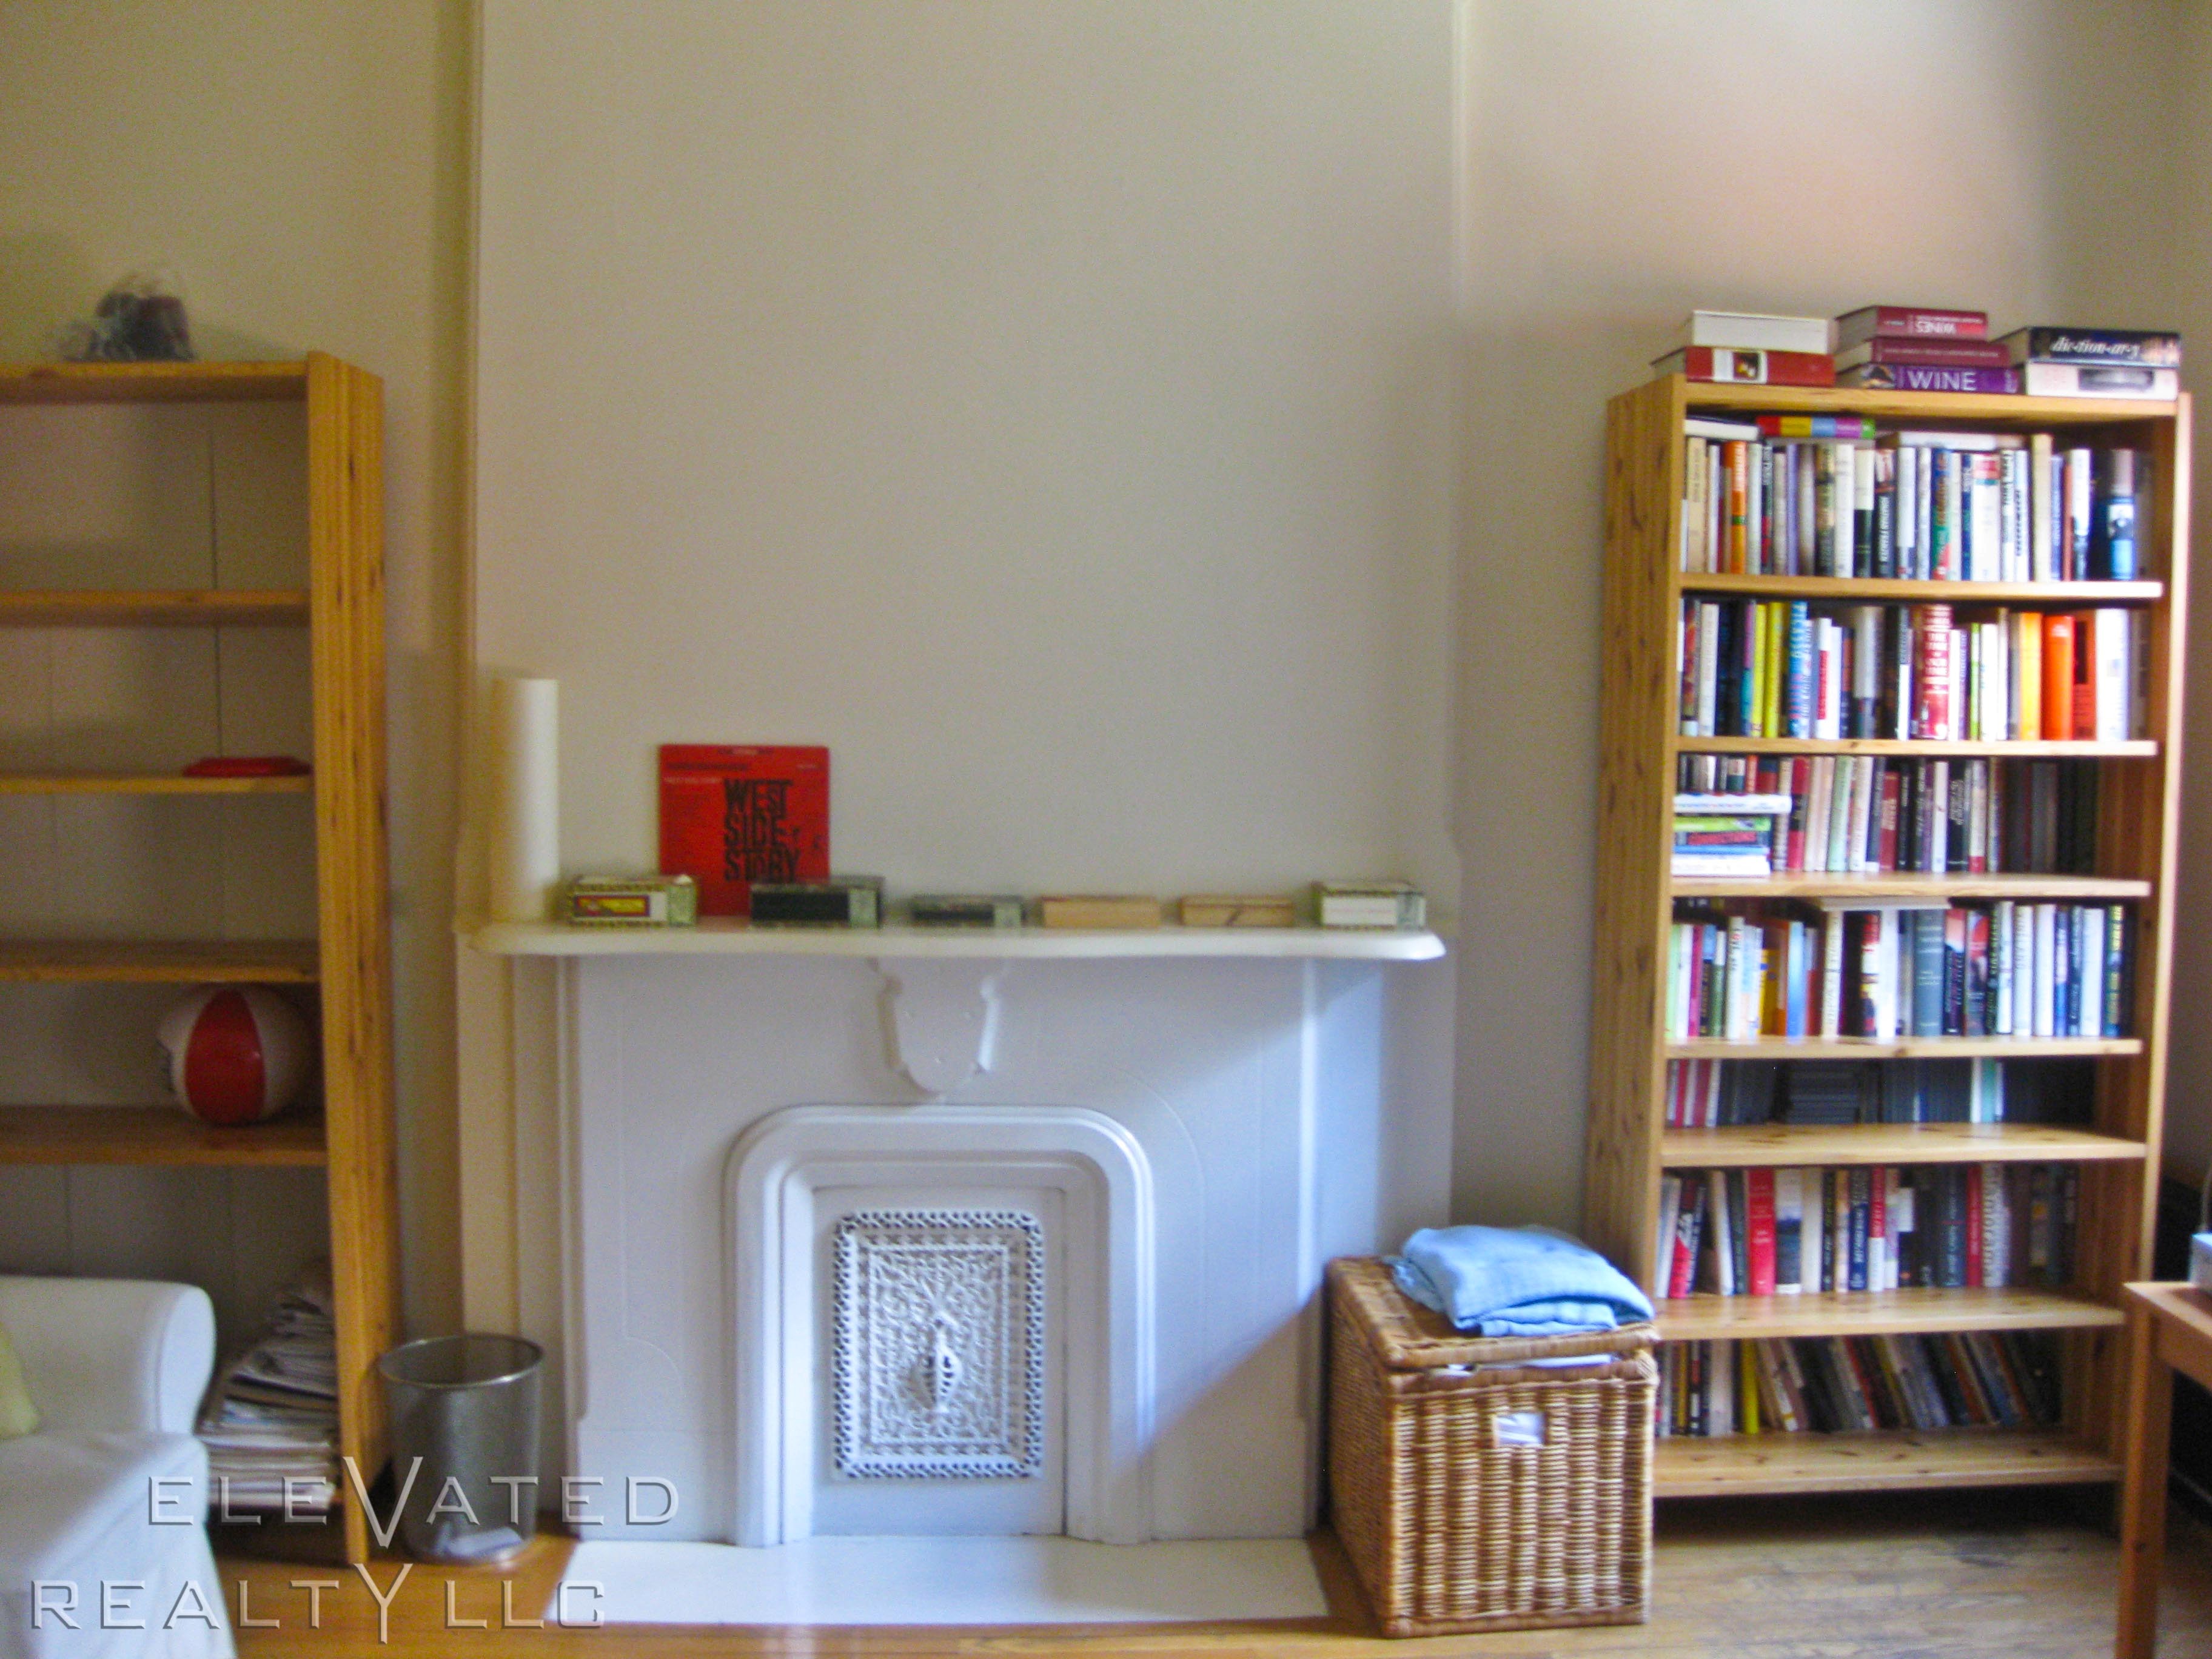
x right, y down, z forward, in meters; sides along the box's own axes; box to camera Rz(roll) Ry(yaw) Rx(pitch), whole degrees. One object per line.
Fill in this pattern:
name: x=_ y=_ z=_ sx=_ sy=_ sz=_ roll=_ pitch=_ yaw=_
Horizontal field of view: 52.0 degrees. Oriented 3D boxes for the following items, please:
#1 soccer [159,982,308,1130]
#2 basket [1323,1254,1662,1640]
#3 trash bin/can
soccer: x=-1.704 y=0.439 z=4.544 sx=0.286 sy=0.287 sz=0.276 roll=1 pitch=2 yaw=-1
basket: x=0.750 y=1.242 z=4.446 sx=0.489 sy=0.482 sz=0.698 roll=0 pitch=-3 yaw=0
trash bin/can: x=-1.365 y=1.250 z=4.605 sx=0.355 sy=0.387 sz=0.364 roll=-11 pitch=-17 yaw=-10
